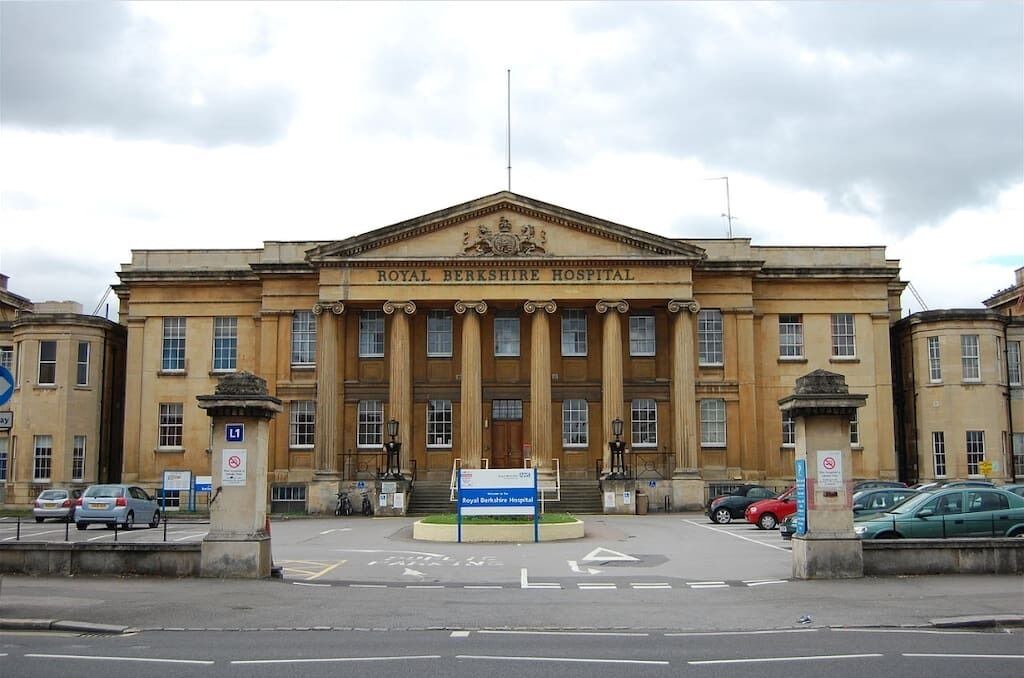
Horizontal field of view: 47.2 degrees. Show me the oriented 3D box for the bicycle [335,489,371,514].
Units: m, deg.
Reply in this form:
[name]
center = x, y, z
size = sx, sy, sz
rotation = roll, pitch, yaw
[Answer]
[bicycle]
center = -7.745, 8.023, 57.511
size = 0.939, 1.066, 1.955
rotation = -15, -21, 40
